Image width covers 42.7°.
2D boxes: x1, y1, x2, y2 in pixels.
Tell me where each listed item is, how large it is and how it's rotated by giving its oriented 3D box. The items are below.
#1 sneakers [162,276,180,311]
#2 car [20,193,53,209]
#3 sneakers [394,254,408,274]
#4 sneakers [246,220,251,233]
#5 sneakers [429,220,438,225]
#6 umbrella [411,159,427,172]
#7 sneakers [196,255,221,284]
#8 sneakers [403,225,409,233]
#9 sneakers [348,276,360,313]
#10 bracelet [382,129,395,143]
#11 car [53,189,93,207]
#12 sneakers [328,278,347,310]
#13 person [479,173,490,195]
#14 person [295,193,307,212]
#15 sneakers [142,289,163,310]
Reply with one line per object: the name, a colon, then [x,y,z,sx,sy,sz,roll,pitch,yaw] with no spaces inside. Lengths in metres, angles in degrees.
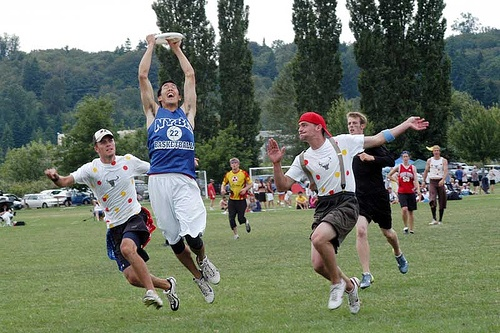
sneakers: [-1.438,2.419,12.146,0.236,0.685,0.304,-13,-3,40]
car: [-18.512,3.016,56.531,2.554,1.043,1.395,-3,1,28]
sneakers: [3.235,2.064,13.636,0.178,0.518,0.223,-21,-12,26]
sneakers: [-0.071,1.997,21.192,0.166,0.474,0.206,-6,30,6]
sneakers: [6.006,1.813,20.982,0.121,0.145,0.344,5,-4,-41]
umbrella: [13.479,-0.141,50.874,1.865,0.849,1.826,0,-5,2]
sneakers: [-0.753,1.985,12.357,0.266,0.684,0.300,-37,-10,11]
sneakers: [4.616,1.836,18.815,0.148,0.166,0.183,-3,-10,5]
sneakers: [1.966,2.330,11.781,0.212,0.636,0.298,-4,-4,38]
bracelet: [2.585,-0.602,11.983,0.141,0.264,0.213,-45,-26,2]
car: [-15.763,2.709,57.888,3.164,1.054,1.505,-2,2,-43]
sneakers: [1.590,2.319,11.739,0.216,0.590,0.244,2,-20,42]
person: [15.223,1.107,41.280,0.488,1.288,0.939,1,4,13]
person: [2.723,1.873,33.741,0.548,0.878,0.895,-1,-9,-3]
sneakers: [-1.763,2.387,11.660,0.200,0.202,0.436,-8,-24,11]
